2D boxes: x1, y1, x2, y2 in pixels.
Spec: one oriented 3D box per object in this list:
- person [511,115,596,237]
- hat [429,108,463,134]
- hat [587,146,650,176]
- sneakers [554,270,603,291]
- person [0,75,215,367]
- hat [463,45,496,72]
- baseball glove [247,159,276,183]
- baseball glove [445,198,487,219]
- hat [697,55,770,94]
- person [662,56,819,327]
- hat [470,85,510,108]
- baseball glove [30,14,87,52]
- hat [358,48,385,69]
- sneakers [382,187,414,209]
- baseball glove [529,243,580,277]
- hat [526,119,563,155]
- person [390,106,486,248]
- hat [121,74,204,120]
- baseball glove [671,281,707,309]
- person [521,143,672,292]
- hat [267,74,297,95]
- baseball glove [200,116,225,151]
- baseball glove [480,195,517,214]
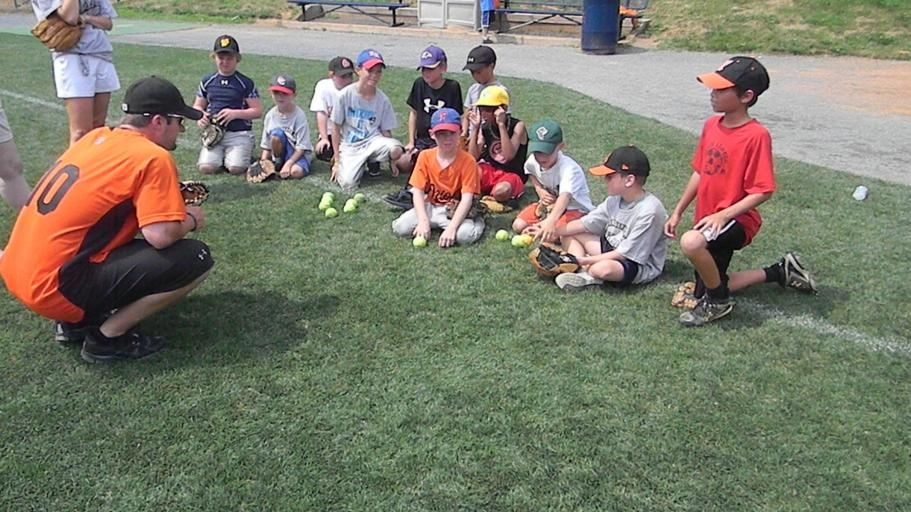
[{"bbox_3d":[1.036,-0.822,7.090,1.038,1.294,1.460,0,21,10],"label":"person"},{"bbox_3d":[-0.122,-1.498,7.134,0.307,0.259,0.250,1,26,-6],"label":"hat"},{"bbox_3d":[1.629,-0.958,6.389,0.724,0.299,0.412,0,16,-3],"label":"hat"},{"bbox_3d":[1.202,0.262,6.442,0.496,0.165,0.192,-6,-18,-1],"label":"sneakers"},{"bbox_3d":[-2.987,-0.052,5.480,1.563,1.867,0.831,-6,29,-19],"label":"person"},{"bbox_3d":[0.193,-2.497,8.085,0.492,0.256,0.352,14,29,41],"label":"hat"},{"bbox_3d":[-2.579,-1.107,8.470,0.357,0.142,0.320,-12,38,1],"label":"baseball glove"},{"bbox_3d":[0.151,-0.548,7.520,0.330,0.144,0.378,2,8,3],"label":"baseball glove"},{"bbox_3d":[2.575,-1.727,5.990,0.717,0.292,0.422,3,32,4],"label":"hat"},{"bbox_3d":[2.697,-0.596,6.002,1.341,2.343,1.205,13,28,17],"label":"person"},{"bbox_3d":[0.458,-1.910,7.638,0.289,0.164,0.384,10,12,43],"label":"hat"},{"bbox_3d":[-4.569,-2.557,7.419,0.476,0.481,0.210,47,7,-2],"label":"baseball glove"},{"bbox_3d":[-1.128,-2.557,8.191,0.329,0.208,0.423,-5,10,-35],"label":"hat"},{"bbox_3d":[-0.704,-0.693,7.681,0.502,0.197,0.178,9,19,10],"label":"sneakers"},{"bbox_3d":[0.986,0.038,6.601,0.453,0.145,0.397,-16,48,-21],"label":"baseball glove"},{"bbox_3d":[0.960,-1.361,7.067,0.384,0.286,0.533,17,40,17],"label":"hat"},{"bbox_3d":[-0.149,-0.875,7.147,0.985,1.409,0.831,11,28,14],"label":"person"},{"bbox_3d":[-2.592,-1.438,5.701,0.708,0.303,0.414,-1,26,-33],"label":"hat"},{"bbox_3d":[2.269,0.386,6.310,0.229,0.114,0.283,6,35,30],"label":"baseball glove"},{"bbox_3d":[1.360,-0.341,6.498,1.675,1.392,1.099,-4,21,6],"label":"person"},{"bbox_3d":[-2.279,-2.258,8.482,0.305,0.196,0.384,14,12,-4],"label":"hat"},{"bbox_3d":[-3.217,-1.617,8.504,0.310,0.158,0.398,27,70,32],"label":"baseball glove"},{"bbox_3d":[0.491,-0.606,7.762,0.311,0.111,0.248,21,6,40],"label":"baseball glove"}]
